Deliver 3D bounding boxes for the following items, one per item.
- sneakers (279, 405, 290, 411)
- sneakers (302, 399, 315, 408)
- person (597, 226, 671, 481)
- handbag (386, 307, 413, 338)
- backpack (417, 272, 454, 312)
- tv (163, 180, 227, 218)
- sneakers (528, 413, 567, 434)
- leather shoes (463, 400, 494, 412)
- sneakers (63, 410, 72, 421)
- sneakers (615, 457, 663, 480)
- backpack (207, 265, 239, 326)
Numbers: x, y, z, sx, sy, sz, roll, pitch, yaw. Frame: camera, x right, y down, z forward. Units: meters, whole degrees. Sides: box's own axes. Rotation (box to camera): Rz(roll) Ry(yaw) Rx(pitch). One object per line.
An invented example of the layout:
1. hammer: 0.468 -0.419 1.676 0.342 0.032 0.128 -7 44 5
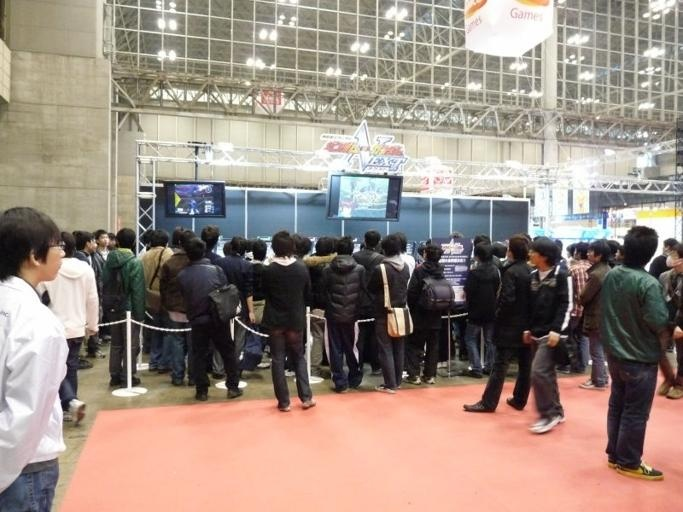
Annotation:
1. sneakers: -0.669 1.772 7.235 0.141 0.062 0.080 -1 9 -7
2. sneakers: -0.399 1.753 7.397 0.071 0.088 0.198 2 2 23
3. person: 2.783 0.896 5.885 0.640 2.323 0.461 4 9 22
4. handbag: 0.715 0.839 7.857 0.416 0.412 0.224 1 -6 -37
5. backpack: 1.262 0.547 8.236 0.649 0.629 0.357 1 -8 -30
6. tv: -3.118 -1.186 13.084 0.898 0.556 0.145 0 -2 -16
7. sneakers: 2.247 1.832 6.791 0.453 0.181 0.153 -8 -22 -29
8. leather shoes: 1.616 1.786 7.361 0.383 0.158 0.131 2 -12 15
9. sneakers: -3.118 1.813 6.998 0.127 0.068 0.204 4 -6 -22
10. sneakers: 2.837 2.024 5.904 0.389 0.170 0.159 1 -3 12
11. backpack: -1.412 0.578 7.486 0.222 0.449 0.413 4 22 37
